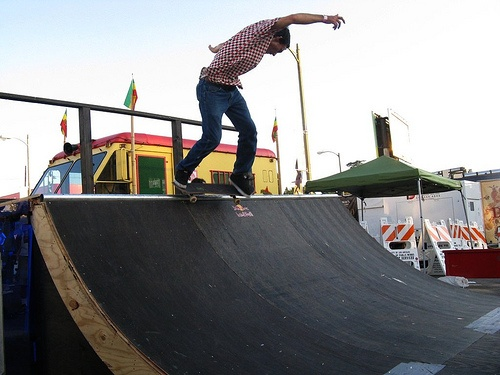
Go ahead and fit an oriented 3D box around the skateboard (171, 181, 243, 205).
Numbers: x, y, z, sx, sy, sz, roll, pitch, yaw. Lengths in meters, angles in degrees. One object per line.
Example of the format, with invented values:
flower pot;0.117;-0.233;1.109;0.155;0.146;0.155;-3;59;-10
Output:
skateboard;-0.379;0.086;4.512;0.523;0.082;0.223;6;33;-34

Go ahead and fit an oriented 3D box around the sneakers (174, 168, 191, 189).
sneakers;-0.625;-0.074;4.371;0.143;0.169;0.168;5;6;-10

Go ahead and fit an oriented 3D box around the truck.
truck;-1.883;-0.383;8.441;2.214;1.090;1.351;2;-6;-40
